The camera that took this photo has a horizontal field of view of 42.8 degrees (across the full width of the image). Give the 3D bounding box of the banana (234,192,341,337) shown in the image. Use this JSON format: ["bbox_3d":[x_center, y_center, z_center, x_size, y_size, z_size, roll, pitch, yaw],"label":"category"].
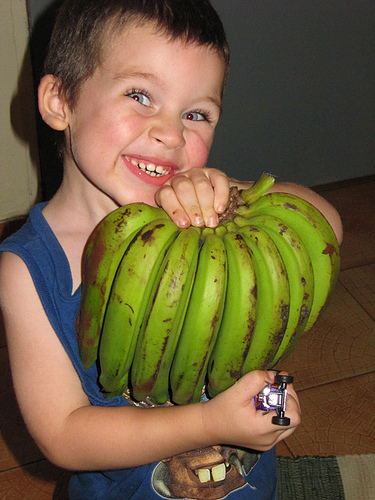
[{"bbox_3d":[0.207,0.006,1.011,0.229,0.233,0.084,-9,5,-13],"label":"banana"}]

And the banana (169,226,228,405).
[{"bbox_3d":[-0.014,0.107,0.875,0.080,0.336,0.125,7,10,21],"label":"banana"}]

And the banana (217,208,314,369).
[{"bbox_3d":[0.141,0.068,0.936,0.224,0.250,0.077,0,-3,-39],"label":"banana"}]

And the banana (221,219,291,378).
[{"bbox_3d":[0.147,0.092,0.861,0.069,0.227,0.187,8,-2,35],"label":"banana"}]

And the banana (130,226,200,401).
[{"bbox_3d":[-0.036,0.133,0.897,0.077,0.336,0.196,14,33,13],"label":"banana"}]

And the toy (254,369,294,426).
[{"bbox_3d":[0.154,0.272,0.865,0.041,0.083,0.086,-6,10,-30],"label":"toy"}]
